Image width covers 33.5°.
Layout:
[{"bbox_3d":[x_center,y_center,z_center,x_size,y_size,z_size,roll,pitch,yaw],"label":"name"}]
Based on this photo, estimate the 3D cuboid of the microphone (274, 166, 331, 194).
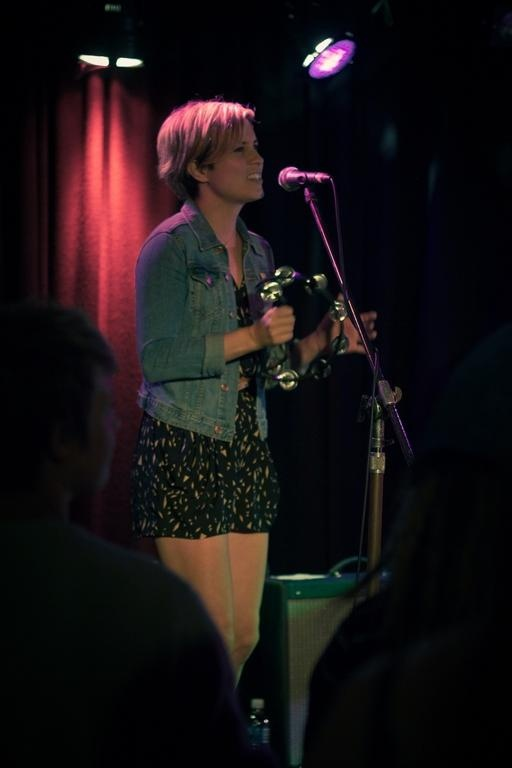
[{"bbox_3d":[0.111,-0.470,1.995,0.145,0.067,0.053,8,34,45],"label":"microphone"}]
